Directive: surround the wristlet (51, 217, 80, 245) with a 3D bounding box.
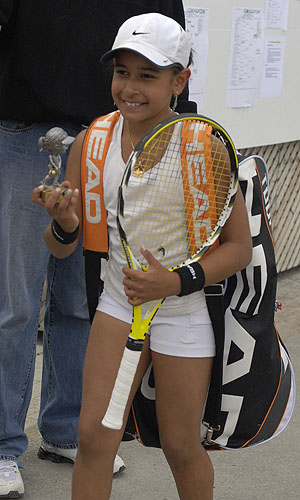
[{"bbox_3d":[-0.239,-0.054,1.352,0.089,0.084,0.059,-4,21,-22],"label":"wristlet"}]

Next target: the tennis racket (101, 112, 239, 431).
[{"bbox_3d":[0.091,0.066,1.222,0.405,0.785,0.505,1,15,-2],"label":"tennis racket"}]
